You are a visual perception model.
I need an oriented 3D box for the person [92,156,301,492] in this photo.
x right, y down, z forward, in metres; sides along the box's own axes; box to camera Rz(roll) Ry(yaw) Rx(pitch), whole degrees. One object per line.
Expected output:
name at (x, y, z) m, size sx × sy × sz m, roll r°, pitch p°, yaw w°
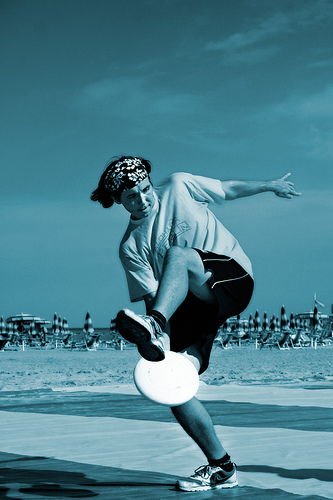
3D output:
person at (0.144, 0.294, 2.666) m, size 0.846 × 1.532 × 0.920 m, roll -2°, pitch -6°, yaw -6°

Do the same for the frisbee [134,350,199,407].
frisbee at (-0.001, 0.521, 2.459) m, size 0.261 × 0.221 × 0.153 m, roll -2°, pitch -6°, yaw -10°

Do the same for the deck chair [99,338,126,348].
deck chair at (-3.486, 5.423, 35.600) m, size 1.670 × 0.368 × 1.426 m, roll 0°, pitch 0°, yaw 3°

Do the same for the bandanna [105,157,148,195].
bandanna at (-0.190, -0.338, 2.896) m, size 0.202 × 0.160 × 0.180 m, roll -2°, pitch -1°, yaw -38°

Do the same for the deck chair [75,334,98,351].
deck chair at (-4.525, 5.168, 33.066) m, size 1.509 × 0.521 × 1.199 m, roll -3°, pitch -1°, yaw 19°

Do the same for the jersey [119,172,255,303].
jersey at (0.070, -0.071, 2.950) m, size 0.641 × 0.611 × 0.302 m, roll -4°, pitch -6°, yaw 9°
